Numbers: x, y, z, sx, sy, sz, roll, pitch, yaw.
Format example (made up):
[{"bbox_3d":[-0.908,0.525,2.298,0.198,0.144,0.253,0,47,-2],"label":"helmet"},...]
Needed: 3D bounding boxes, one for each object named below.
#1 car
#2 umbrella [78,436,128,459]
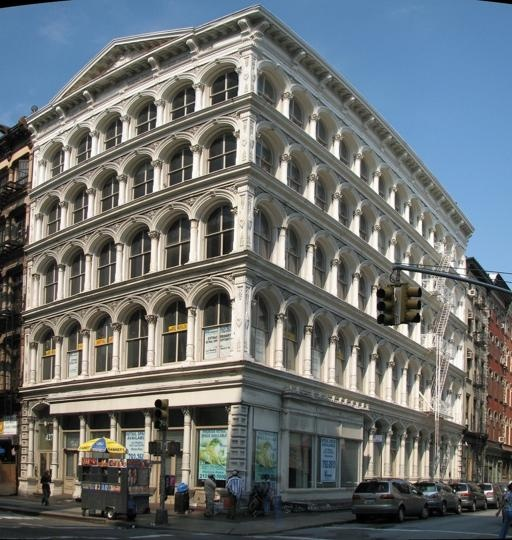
[{"bbox_3d":[7.467,10.412,56.246,2.199,1.864,9.677,-9,-13,34],"label":"car"},{"bbox_3d":[-7.065,8.168,57.040,1.790,0.699,1.711,13,-16,-21],"label":"umbrella"}]
